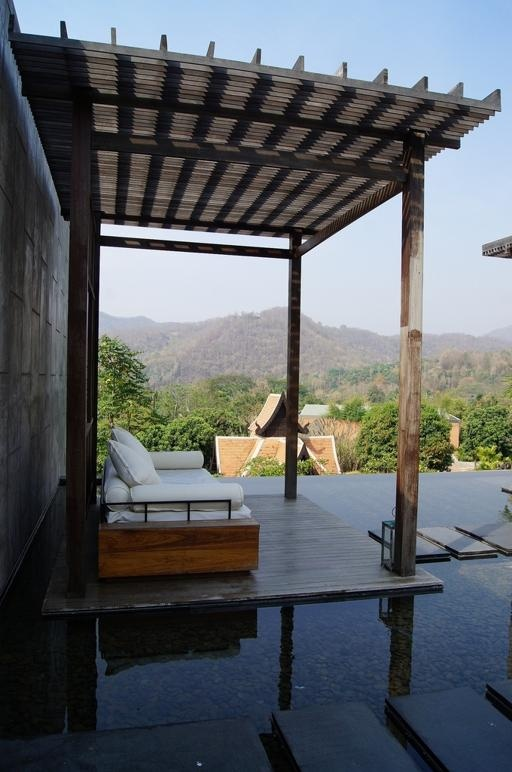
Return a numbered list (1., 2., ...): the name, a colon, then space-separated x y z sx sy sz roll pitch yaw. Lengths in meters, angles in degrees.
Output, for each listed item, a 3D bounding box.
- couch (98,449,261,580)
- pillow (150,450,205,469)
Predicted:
1. couch: -0.519 0.843 3.825 1.030 0.844 0.496 1 2 -15
2. pillow: -0.872 0.821 6.203 0.425 0.175 0.241 -1 17 -15
